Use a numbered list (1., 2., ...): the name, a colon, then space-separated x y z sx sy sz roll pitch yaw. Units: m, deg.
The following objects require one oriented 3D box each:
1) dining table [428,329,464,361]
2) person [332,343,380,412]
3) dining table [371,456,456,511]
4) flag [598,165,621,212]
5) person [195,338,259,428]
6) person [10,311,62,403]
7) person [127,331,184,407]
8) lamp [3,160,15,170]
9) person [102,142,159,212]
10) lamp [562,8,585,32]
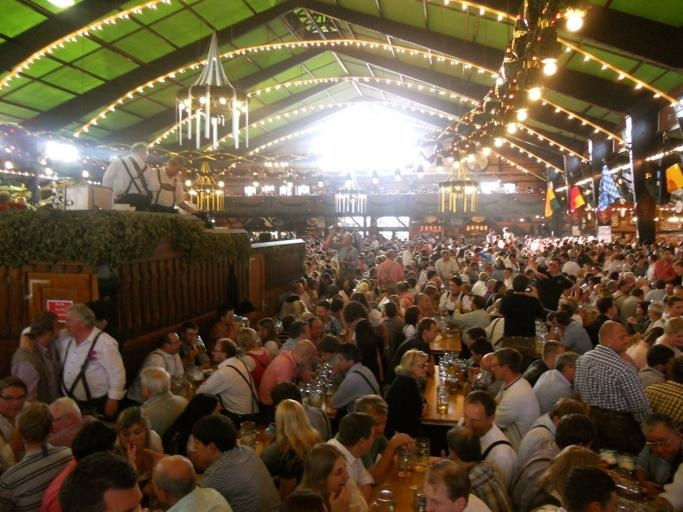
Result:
1. dining table: 1.848 1.606 9.441 0.410 0.238 0.981 0 7 11
2. person: 0.156 1.561 6.786 0.566 1.015 0.534 -12 -22 18
3. dining table: 0.632 2.289 5.312 0.494 0.185 0.791 -2 3 24
4. flag: 8.818 -2.254 17.514 0.524 1.521 1.441 2 4 26
5. person: -1.496 1.700 7.091 0.804 1.196 0.642 2 14 20
6. person: -3.744 1.276 6.558 0.370 1.214 0.552 -1 33 -20
7. person: -2.608 1.597 7.696 0.629 0.903 0.763 12 5 3
8. lamp: -11.149 -3.014 17.775 0.216 0.293 1.174 -2 5 -27
9. person: -3.703 -1.382 9.349 0.930 1.134 0.709 -1 4 -20
10. lamp: 2.849 -2.868 6.491 0.230 0.188 0.419 2 4 20
